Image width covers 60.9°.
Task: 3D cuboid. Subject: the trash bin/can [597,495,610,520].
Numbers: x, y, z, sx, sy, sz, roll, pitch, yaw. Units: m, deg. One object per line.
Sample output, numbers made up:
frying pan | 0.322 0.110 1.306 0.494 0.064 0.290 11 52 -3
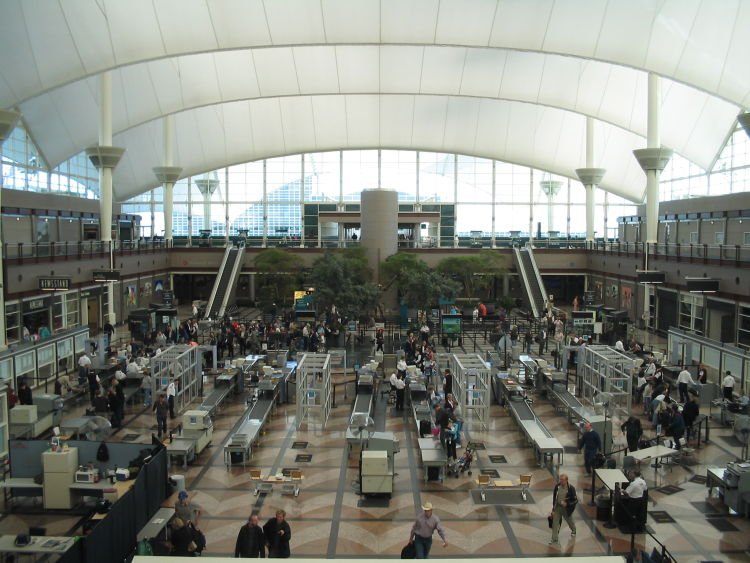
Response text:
trash bin/can | 6.883 6.826 19.284 0.498 0.772 0.313 -1 -2 37

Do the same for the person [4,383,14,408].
person | -13.949 4.355 24.336 0.243 0.757 1.677 1 -1 -27

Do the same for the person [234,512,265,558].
person | -3.215 6.504 16.216 0.741 1.142 0.461 1 -2 -17

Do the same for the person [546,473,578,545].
person | 5.320 6.495 18.370 1.067 1.890 0.766 -5 8 -17

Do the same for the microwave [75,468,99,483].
microwave | -8.747 5.859 19.225 0.559 0.399 0.410 1 1 3

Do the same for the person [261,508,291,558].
person | -2.603 6.499 16.510 0.648 1.303 0.571 0 -1 -13

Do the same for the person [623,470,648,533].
person | 7.683 6.339 18.899 0.652 1.625 0.512 -6 9 -15

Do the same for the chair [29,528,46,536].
chair | -9.235 6.766 17.287 0.368 0.277 0.213 1 -5 -3

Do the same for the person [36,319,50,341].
person | -17.119 2.492 32.537 0.613 1.725 0.443 2 16 -17

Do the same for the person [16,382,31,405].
person | -13.623 4.270 24.637 0.509 0.853 1.349 1 -1 -29

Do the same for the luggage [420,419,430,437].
luggage | 1.805 5.403 23.470 0.439 0.518 0.456 0 -1 2

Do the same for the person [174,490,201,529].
person | -5.414 6.466 18.036 0.489 1.217 0.688 -11 -1 -28

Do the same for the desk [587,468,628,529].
desk | 7.168 6.874 19.624 1.031 1.203 1.770 0 5 3

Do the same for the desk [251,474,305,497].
desk | -3.221 6.511 20.676 1.551 0.707 0.858 0 -1 -7

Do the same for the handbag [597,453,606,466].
handbag | 7.609 6.001 21.564 0.281 0.439 0.509 0 -1 20

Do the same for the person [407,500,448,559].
person | 1.302 6.603 16.908 0.782 1.650 0.789 0 -1 3

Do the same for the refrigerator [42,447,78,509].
refrigerator | -9.713 5.986 19.456 0.939 1.911 0.407 0 -2 4

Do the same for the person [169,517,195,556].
person | -5.094 6.703 16.733 0.515 1.022 0.809 1 -1 -22

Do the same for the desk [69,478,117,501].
desk | -8.534 6.328 19.209 1.656 0.690 0.513 0 -1 28
